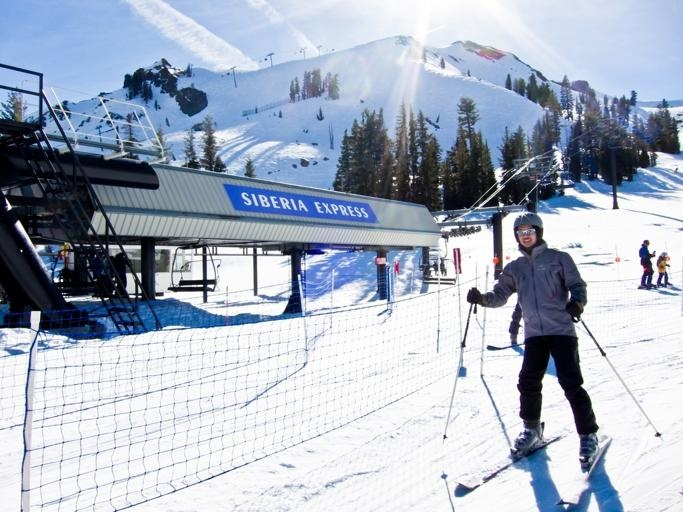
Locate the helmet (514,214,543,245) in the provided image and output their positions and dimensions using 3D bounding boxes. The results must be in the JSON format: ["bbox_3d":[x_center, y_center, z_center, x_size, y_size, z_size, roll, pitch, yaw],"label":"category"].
[{"bbox_3d":[2.630,-0.392,9.306,0.349,0.453,0.428,-4,-15,27],"label":"helmet"}]

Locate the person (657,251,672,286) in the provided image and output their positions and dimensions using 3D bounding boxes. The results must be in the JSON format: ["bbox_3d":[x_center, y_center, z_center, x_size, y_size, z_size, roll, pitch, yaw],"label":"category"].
[{"bbox_3d":[11.996,0.469,24.785,0.432,1.309,2.852,1,9,26],"label":"person"}]

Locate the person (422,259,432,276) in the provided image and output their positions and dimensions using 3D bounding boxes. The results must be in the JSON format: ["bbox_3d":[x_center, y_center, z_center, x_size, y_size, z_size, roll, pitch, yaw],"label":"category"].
[{"bbox_3d":[4.443,0.559,34.558,0.273,0.961,1.587,-1,9,13],"label":"person"}]
